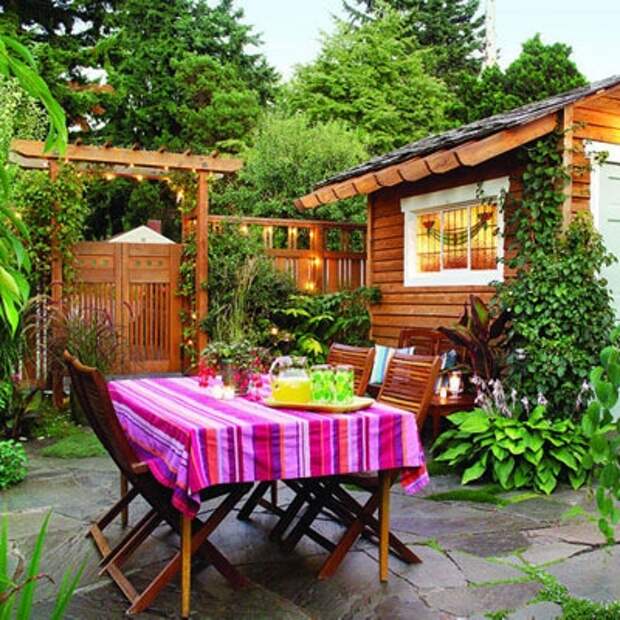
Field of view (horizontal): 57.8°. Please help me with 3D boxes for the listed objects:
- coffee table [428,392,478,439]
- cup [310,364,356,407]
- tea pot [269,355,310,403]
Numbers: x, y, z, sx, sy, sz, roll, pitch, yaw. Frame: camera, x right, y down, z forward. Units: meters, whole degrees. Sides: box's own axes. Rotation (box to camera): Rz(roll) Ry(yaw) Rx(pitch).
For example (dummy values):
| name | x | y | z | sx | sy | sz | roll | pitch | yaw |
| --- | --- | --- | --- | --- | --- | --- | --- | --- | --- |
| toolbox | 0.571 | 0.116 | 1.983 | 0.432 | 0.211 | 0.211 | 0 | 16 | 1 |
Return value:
| name | x | y | z | sx | sy | sz | roll | pitch | yaw |
| --- | --- | --- | --- | --- | --- | --- | --- | --- | --- |
| coffee table | 1.517 | 1.097 | 6.031 | 0.554 | 0.420 | 0.452 | 3 | 8 | 0 |
| cup | 0.112 | 0.382 | 2.861 | 0.210 | 0.197 | 0.130 | 1 | -2 | 1 |
| tea pot | -0.102 | 0.368 | 2.988 | 0.213 | 0.232 | 0.212 | 4 | 5 | 0 |
